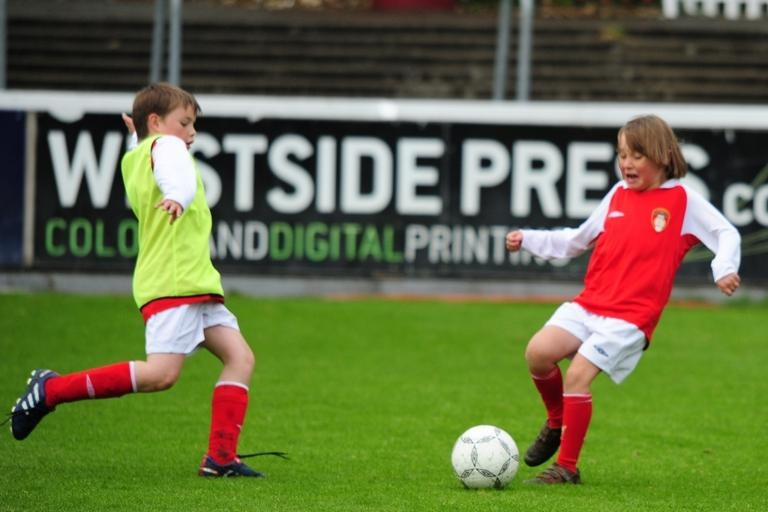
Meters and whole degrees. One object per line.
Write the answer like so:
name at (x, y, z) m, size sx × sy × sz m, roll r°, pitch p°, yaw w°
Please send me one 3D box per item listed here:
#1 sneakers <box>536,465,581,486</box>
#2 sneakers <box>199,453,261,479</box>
sneakers at (1.465, 1.872, 10.125) m, size 0.378 × 0.172 × 0.158 m, roll 5°, pitch -6°, yaw -2°
sneakers at (-1.330, 1.833, 10.247) m, size 0.569 × 0.255 × 0.204 m, roll 5°, pitch -3°, yaw -8°
